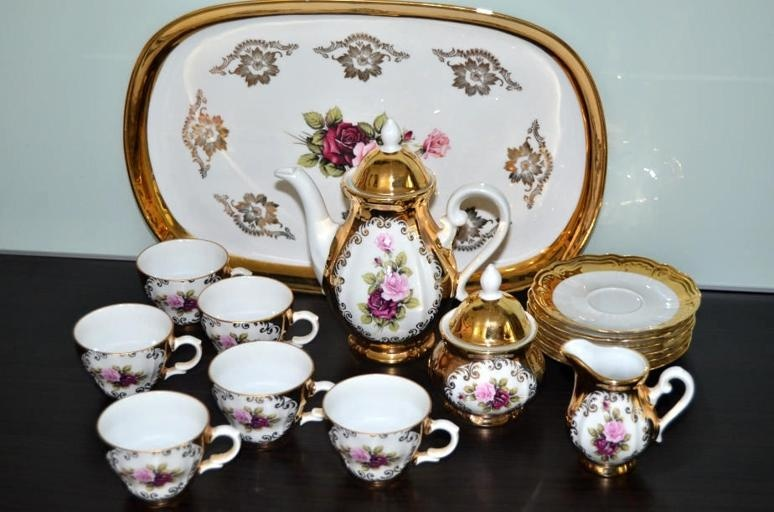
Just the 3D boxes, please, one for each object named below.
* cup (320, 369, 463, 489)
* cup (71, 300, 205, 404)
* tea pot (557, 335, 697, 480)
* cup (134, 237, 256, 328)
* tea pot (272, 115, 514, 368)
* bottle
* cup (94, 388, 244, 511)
[{"bbox_3d":[-0.011,0.256,1.017,0.217,0.108,0.150,7,17,12],"label":"cup"},{"bbox_3d":[-0.385,0.159,1.126,0.175,0.095,0.135,-1,22,-10],"label":"cup"},{"bbox_3d":[0.337,0.225,1.030,0.176,0.173,0.130,5,17,16],"label":"tea pot"},{"bbox_3d":[-0.323,0.039,1.250,0.194,0.096,0.140,8,30,0],"label":"cup"},{"bbox_3d":[0.014,-0.014,1.151,0.355,0.366,0.212,2,24,3],"label":"tea pot"},{"bbox_3d":[0.148,0.126,1.136,0.201,0.283,0.207,0,25,0],"label":"bottle"},{"bbox_3d":[-0.316,0.253,1.006,0.189,0.109,0.146,3,22,2],"label":"cup"}]
